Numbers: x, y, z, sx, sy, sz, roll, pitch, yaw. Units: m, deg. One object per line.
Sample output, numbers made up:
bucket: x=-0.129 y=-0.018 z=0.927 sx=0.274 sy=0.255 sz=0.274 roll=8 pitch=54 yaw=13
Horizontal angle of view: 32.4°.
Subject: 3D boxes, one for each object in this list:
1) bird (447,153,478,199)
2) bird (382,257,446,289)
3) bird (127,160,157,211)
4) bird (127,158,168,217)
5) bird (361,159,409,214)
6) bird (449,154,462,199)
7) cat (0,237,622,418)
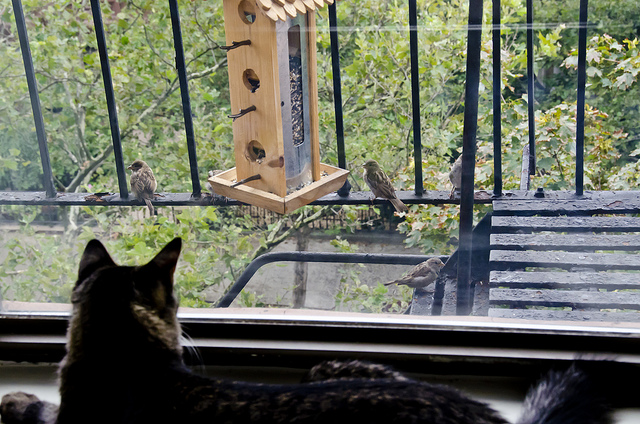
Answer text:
bird: x=0.706 y=-0.183 z=5.514 sx=0.115 sy=0.224 sz=0.131 roll=7 pitch=10 yaw=44
bird: x=0.532 y=0.292 z=5.435 sx=0.098 sy=0.130 sz=0.298 roll=-6 pitch=2 yaw=-29
bird: x=-0.920 y=-0.139 z=5.641 sx=0.107 sy=0.121 sz=0.288 roll=-11 pitch=39 yaw=-15
bird: x=-0.884 y=-0.132 z=5.670 sx=0.183 sy=0.264 sz=0.372 roll=-1 pitch=7 yaw=-10
bird: x=0.346 y=-0.138 z=5.670 sx=0.117 sy=0.188 sz=0.329 roll=-6 pitch=19 yaw=-37
bird: x=0.676 y=-0.179 z=5.483 sx=0.029 sy=0.211 sz=0.096 roll=-5 pitch=8 yaw=-32
cat: x=-0.335 y=0.501 z=5.248 sx=3.261 sy=1.185 sz=0.927 roll=0 pitch=-9 yaw=5
